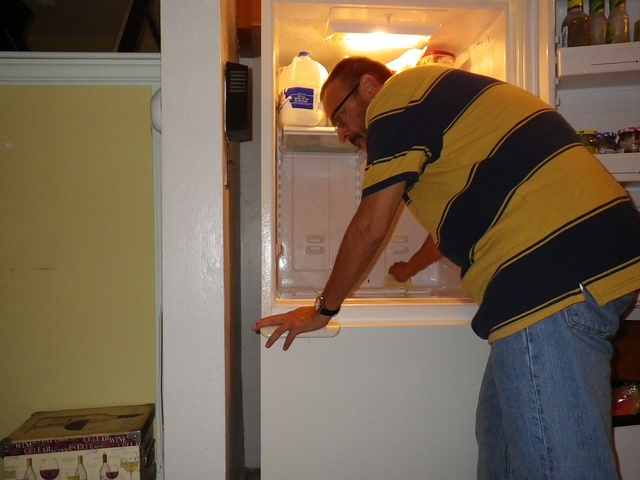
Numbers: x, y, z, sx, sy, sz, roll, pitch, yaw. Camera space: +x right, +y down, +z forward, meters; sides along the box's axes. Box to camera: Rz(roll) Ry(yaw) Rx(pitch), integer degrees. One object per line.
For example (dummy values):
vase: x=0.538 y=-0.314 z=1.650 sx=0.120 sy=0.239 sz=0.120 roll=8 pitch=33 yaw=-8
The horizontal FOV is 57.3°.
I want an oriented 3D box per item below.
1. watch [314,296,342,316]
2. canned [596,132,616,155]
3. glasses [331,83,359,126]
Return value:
watch: x=0.023 y=0.224 z=1.975 sx=0.077 sy=0.088 sz=0.055 roll=-5 pitch=27 yaw=2
canned: x=1.085 y=-0.367 z=2.233 sx=0.064 sy=0.087 sz=0.089 roll=0 pitch=-2 yaw=26
glasses: x=0.095 y=-0.470 z=2.013 sx=0.027 sy=0.100 sz=0.092 roll=27 pitch=-2 yaw=5
